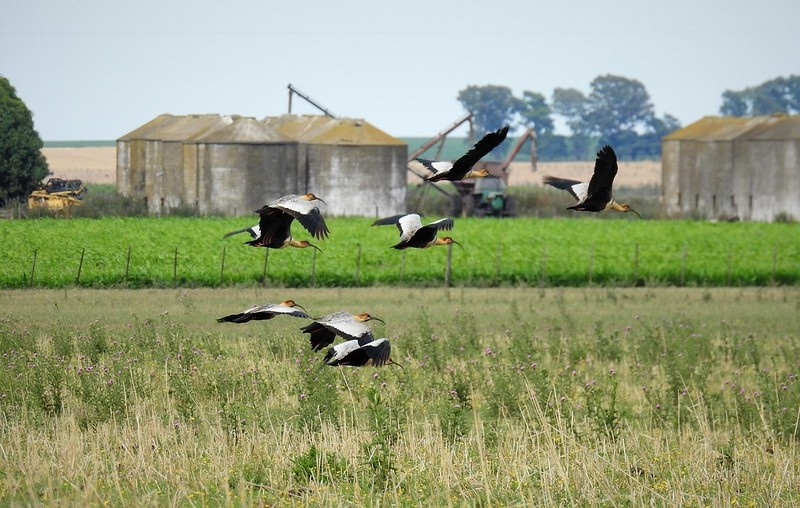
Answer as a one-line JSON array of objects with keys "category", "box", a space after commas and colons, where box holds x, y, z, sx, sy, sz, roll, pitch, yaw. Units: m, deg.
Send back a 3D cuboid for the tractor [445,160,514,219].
[{"category": "tractor", "box": [6.117, -4.544, 121.348, 3.311, 3.771, 5.925, 0, 1, -13]}]
